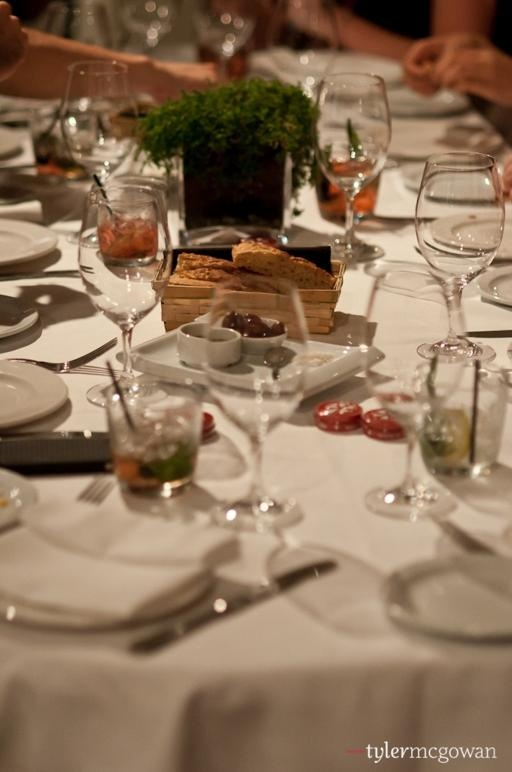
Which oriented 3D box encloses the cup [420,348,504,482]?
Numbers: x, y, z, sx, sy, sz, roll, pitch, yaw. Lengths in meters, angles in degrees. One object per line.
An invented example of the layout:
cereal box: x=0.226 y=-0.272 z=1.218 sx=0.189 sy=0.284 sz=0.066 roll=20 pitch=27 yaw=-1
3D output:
cup: x=0.184 y=0.034 z=0.626 sx=0.096 sy=0.104 sz=0.100 roll=0 pitch=6 yaw=0

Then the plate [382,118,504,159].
plate: x=0.563 y=-0.748 z=1.963 sx=0.295 sy=0.034 sz=0.310 roll=3 pitch=28 yaw=13

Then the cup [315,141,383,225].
cup: x=0.187 y=-0.424 z=1.428 sx=0.126 sy=0.131 sz=0.127 roll=-1 pitch=10 yaw=0

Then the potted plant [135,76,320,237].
potted plant: x=-0.041 y=-0.419 z=1.356 sx=0.406 sy=0.357 sz=0.276 roll=1 pitch=23 yaw=3
